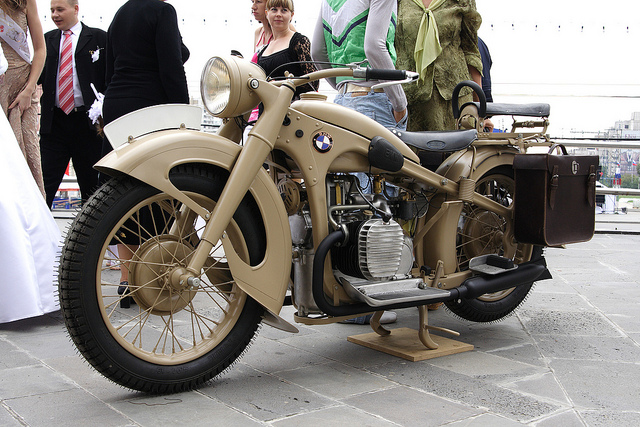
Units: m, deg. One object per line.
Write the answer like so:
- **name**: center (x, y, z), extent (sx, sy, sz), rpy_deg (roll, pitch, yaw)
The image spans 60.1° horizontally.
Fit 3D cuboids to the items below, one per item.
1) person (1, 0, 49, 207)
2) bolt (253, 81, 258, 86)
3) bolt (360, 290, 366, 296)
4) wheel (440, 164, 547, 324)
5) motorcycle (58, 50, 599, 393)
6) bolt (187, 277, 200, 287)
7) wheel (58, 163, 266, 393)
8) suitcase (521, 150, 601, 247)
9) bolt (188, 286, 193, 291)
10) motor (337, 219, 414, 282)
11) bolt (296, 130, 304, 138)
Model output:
- **person**: center (-2.443, -0.926, 4.581), extent (0.366, 1.603, 0.636), rpy_deg (-3, 9, -26)
- **bolt**: center (-0.330, -0.658, 2.793), extent (0.024, 0.025, 0.006), rpy_deg (29, 5, 2)
- **bolt**: center (0.241, 0.434, 3.033), extent (0.024, 0.016, 0.014), rpy_deg (19, -9, 4)
- **wheel**: center (1.093, 0.152, 3.516), extent (0.732, 0.836, 0.156), rpy_deg (-30, 26, -24)
- **motorcycle**: center (0.276, -0.030, 3.318), extent (3.268, 1.665, 1.078), rpy_deg (-5, 8, -27)
- **bolt**: center (-0.607, 0.329, 2.662), extent (0.043, 0.044, 0.041), rpy_deg (-7, 6, -33)
- **wheel**: center (-0.777, 0.350, 2.818), extent (1.069, 1.153, 0.349), rpy_deg (9, -2, -30)
- **suitcase**: center (1.542, -0.095, 3.548), extent (0.564, 0.557, 0.240), rpy_deg (5, -2, -29)
- **bolt**: center (-0.635, 0.368, 2.708), extent (0.020, 0.021, 0.036), rpy_deg (16, -20, -8)
- **motor**: center (0.294, 0.175, 3.156), extent (0.336, 0.390, 0.400), rpy_deg (0, 1, -27)
- **bolt**: center (-0.105, -0.425, 2.925), extent (0.043, 0.036, 0.010), rpy_deg (-4, 9, -32)
